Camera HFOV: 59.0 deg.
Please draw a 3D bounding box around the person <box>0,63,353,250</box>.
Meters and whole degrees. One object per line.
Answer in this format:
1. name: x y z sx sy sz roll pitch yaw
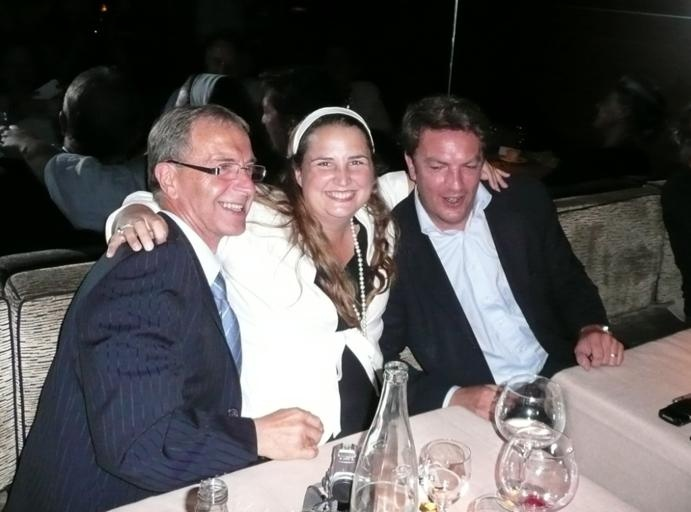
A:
1. person: -0.825 -0.588 2.888 1.048 0.386 1.029 -10 10 -26
